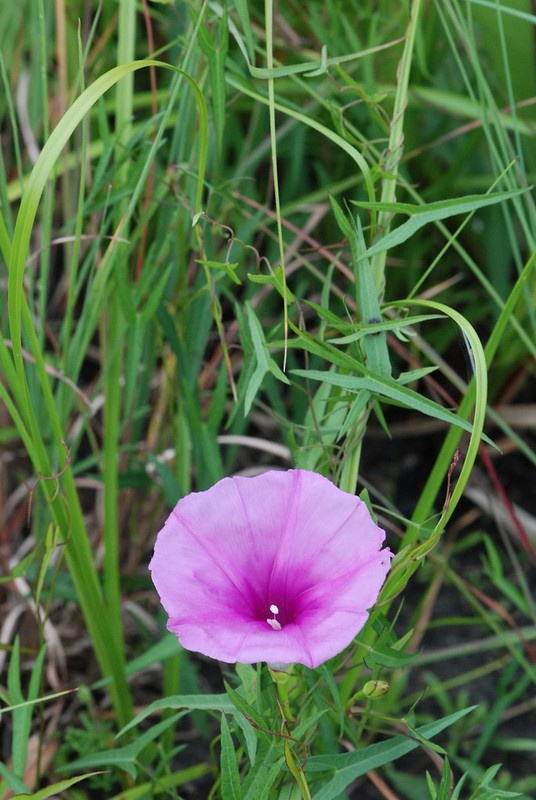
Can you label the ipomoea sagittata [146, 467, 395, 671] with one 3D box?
[{"bbox_3d":[0.004,0.069,0.316,0.097,0.050,0.094,17,57,22],"label":"ipomoea sagittata"}]
